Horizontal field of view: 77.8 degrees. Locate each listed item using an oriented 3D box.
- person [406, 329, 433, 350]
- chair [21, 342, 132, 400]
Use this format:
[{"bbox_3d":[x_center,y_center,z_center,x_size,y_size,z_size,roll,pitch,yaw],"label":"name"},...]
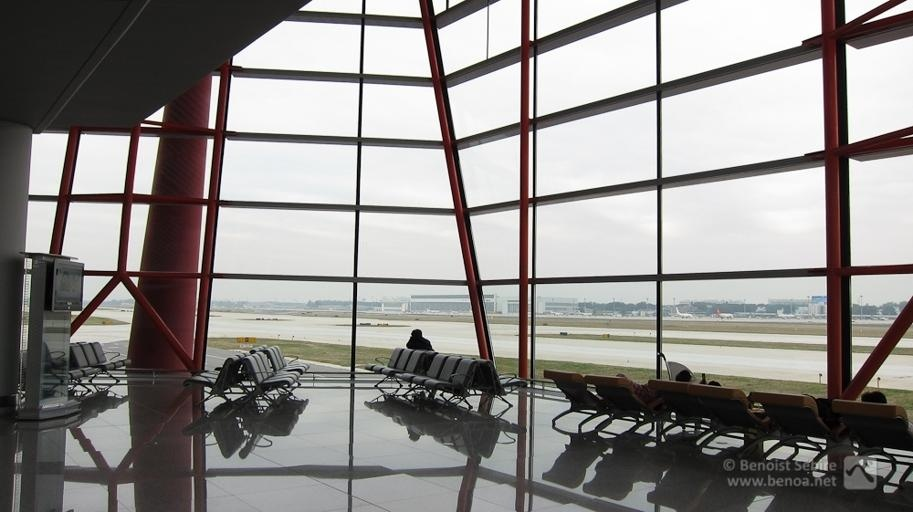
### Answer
[{"bbox_3d":[-1.085,2.364,16.169,0.670,0.545,1.222,1,4,-4],"label":"person"},{"bbox_3d":[-9.785,2.932,15.264,0.939,0.851,2.643,12,-8,-13],"label":"chair"}]
